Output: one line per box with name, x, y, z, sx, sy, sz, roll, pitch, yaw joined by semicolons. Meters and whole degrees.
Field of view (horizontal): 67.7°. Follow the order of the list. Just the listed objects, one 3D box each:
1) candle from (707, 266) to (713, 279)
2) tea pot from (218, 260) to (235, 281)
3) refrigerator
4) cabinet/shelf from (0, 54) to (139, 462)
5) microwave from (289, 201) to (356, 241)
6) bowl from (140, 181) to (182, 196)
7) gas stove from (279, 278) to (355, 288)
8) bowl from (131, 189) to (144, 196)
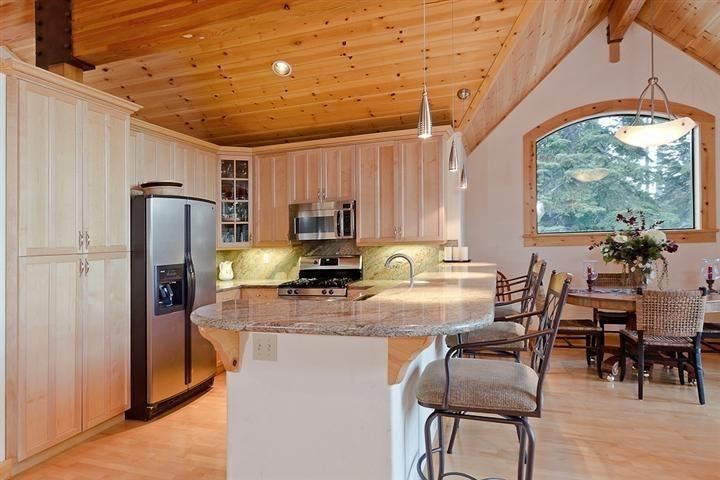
candle;4.023;0.376;6.160;0.066;0.146;0.067;2;11;20
tea pot;-1.788;0.426;7.319;0.280;0.243;0.221;-1;0;-24
refrigerator;-2.016;0.633;5.680;0.463;2.224;1.145;3;11;26
cabinet/shelf;-2.746;0.143;4.982;0.494;3.473;1.496;5;13;33
microwave;-0.485;-0.240;6.864;0.929;0.470;0.528;-1;-3;24
bowl;-2.114;-0.546;5.732;0.293;0.084;0.264;-2;0;-10
gas stove;-0.542;0.530;6.781;0.834;0.071;0.607;-1;8;5
bowl;-2.385;-0.504;5.748;0.069;0.069;0.114;-1;-2;11
